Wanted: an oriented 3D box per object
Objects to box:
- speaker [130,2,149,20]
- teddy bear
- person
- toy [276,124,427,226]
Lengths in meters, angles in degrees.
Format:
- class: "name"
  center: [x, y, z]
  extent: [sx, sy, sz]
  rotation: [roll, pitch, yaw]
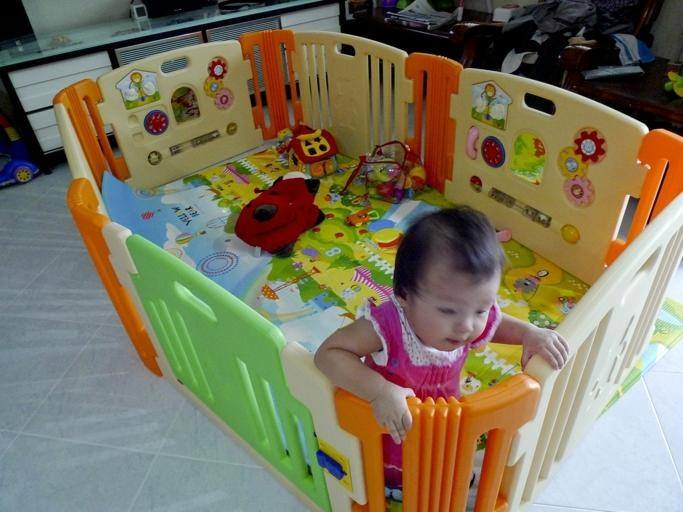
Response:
- class: "speaker"
  center: [-1.464, -1.795, 3.417]
  extent: [0.107, 0.105, 0.174]
  rotation: [-13, 36, -16]
- class: "teddy bear"
  center: [-0.303, -0.250, 2.423]
  extent: [0.422, 0.228, 0.575]
  rotation: [7, 36, 8]
- class: "person"
  center: [0.221, 0.319, 1.204]
  extent: [0.547, 0.824, 0.378]
  rotation: [-7, 20, -23]
- class: "toy"
  center: [0.050, -0.462, 2.705]
  extent: [0.772, 0.317, 0.490]
  rotation: [32, 57, 30]
